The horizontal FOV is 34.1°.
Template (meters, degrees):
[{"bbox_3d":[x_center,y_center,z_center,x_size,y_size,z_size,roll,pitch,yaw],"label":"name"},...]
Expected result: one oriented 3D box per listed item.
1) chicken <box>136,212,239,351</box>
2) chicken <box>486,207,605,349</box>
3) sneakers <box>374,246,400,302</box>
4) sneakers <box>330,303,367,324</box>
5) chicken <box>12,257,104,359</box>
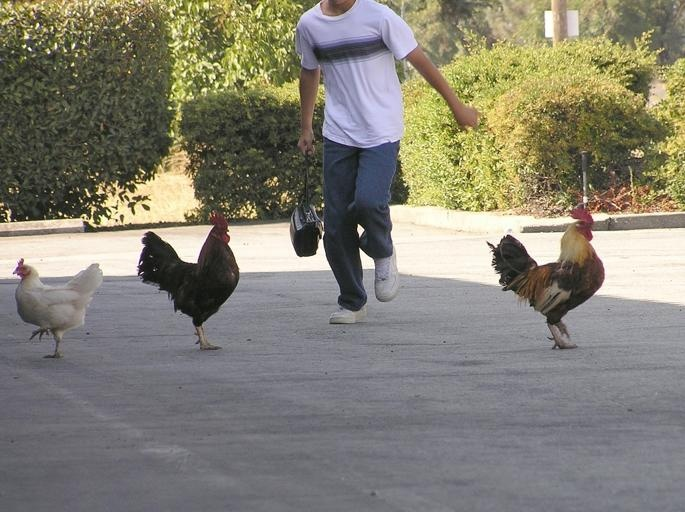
[{"bbox_3d":[-1.203,0.199,8.824,0.745,1.017,0.417,8,14,38],"label":"chicken"},{"bbox_3d":[1.619,0.165,8.671,0.399,1.041,0.815,-9,13,-37],"label":"chicken"},{"bbox_3d":[0.369,0.161,9.672,0.179,0.461,0.198,-5,-7,21],"label":"sneakers"},{"bbox_3d":[0.030,0.529,9.694,0.349,0.130,0.127,2,-5,-43],"label":"sneakers"},{"bbox_3d":[-2.253,0.398,8.704,0.926,0.959,0.559,1,-7,-1],"label":"chicken"}]
